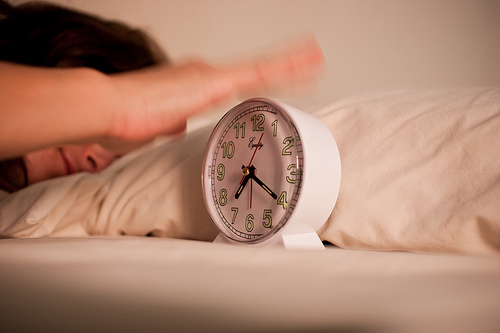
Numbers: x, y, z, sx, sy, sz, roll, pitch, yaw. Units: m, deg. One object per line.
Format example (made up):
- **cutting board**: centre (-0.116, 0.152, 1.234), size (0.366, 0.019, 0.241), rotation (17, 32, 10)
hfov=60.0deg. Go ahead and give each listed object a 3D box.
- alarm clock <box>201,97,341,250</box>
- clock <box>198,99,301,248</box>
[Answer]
- **alarm clock**: centre (0.071, 0.037, 1.338), size (0.451, 0.265, 0.509), rotation (0, 80, 42)
- **clock**: centre (0.004, 0.039, 1.347), size (0.435, 0.098, 0.507), rotation (-8, 79, 42)
